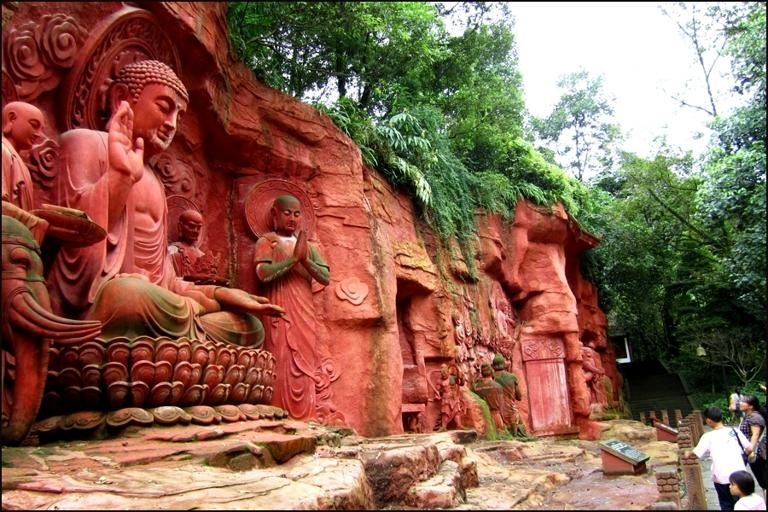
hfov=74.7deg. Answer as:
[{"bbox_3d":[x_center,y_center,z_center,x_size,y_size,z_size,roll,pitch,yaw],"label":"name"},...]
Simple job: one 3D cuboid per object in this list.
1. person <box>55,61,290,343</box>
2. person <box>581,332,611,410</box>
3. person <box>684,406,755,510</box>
[{"bbox_3d":[-2.303,-0.538,5.094,0.858,2.929,1.596,-15,-24,24],"label":"person"},{"bbox_3d":[5.897,3.236,14.059,0.540,2.137,1.568,-5,-4,24],"label":"person"},{"bbox_3d":[3.280,1.987,4.923,0.586,0.960,0.695,-18,-25,30],"label":"person"}]
